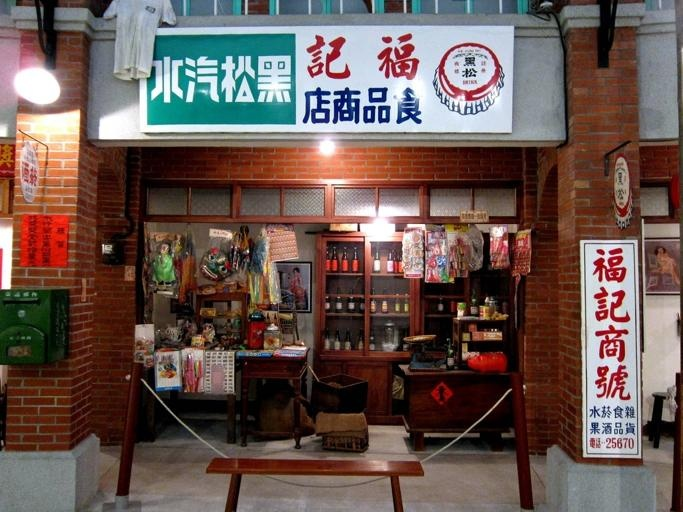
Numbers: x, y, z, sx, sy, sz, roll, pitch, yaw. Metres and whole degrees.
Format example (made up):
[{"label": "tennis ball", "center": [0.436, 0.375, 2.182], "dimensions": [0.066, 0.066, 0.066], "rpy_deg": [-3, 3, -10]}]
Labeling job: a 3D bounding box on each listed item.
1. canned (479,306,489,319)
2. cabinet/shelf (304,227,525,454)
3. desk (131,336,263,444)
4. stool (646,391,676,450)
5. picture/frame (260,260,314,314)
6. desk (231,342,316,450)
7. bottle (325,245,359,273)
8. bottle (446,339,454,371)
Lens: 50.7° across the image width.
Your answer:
[{"label": "canned", "center": [1.936, 0.756, 9.774], "dimensions": [0.137, 0.141, 0.246], "rpy_deg": [-7, -1, 7]}, {"label": "cabinet/shelf", "center": [1.107, 1.211, 10.076], "dimensions": [2.727, 2.823, 0.947], "rpy_deg": [0, -6, -1]}, {"label": "desk", "center": [-1.974, 1.589, 9.895], "dimensions": [1.559, 1.059, 1.130], "rpy_deg": [1, -3, -7]}, {"label": "stool", "center": [4.257, 2.153, 9.689], "dimensions": [0.240, 0.742, 0.384], "rpy_deg": [0, 0, 22]}, {"label": "picture/frame", "center": [-0.819, 0.441, 11.045], "dimensions": [0.815, 1.011, 0.069], "rpy_deg": [-1, -2, 2]}, {"label": "desk", "center": [-0.972, 1.909, 9.947], "dimensions": [0.923, 1.216, 1.060], "rpy_deg": [1, -3, -11]}, {"label": "bottle", "center": [-0.011, 0.053, 11.032], "dimensions": [0.366, 0.363, 0.131], "rpy_deg": [2, -10, -15]}, {"label": "bottle", "center": [1.463, 1.330, 9.690], "dimensions": [0.117, 0.295, 0.221], "rpy_deg": [0, 0, 10]}]
